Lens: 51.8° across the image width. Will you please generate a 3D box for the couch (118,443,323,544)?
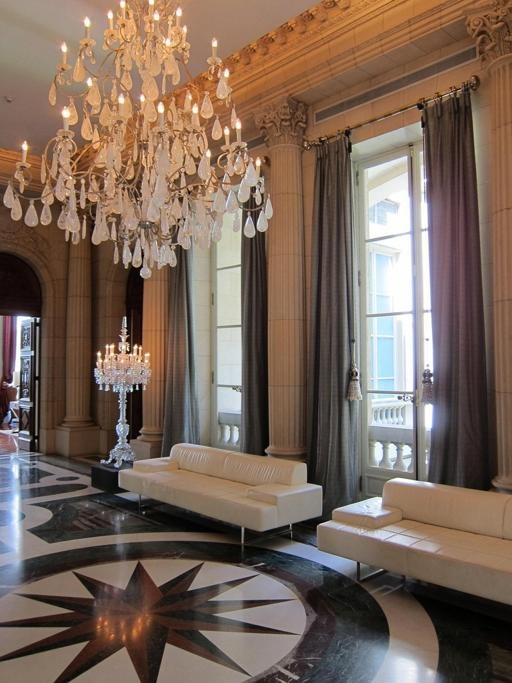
[{"bbox_3d":[-0.365,1.343,4.790,0.765,0.580,1.912,5,-6,-44],"label":"couch"}]
